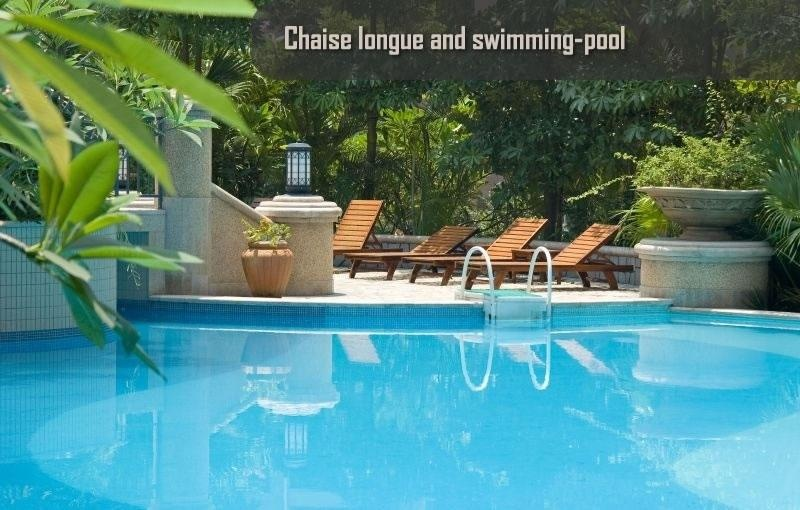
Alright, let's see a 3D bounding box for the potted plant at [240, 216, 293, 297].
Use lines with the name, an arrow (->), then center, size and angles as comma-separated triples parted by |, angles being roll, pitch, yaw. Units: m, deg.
potted plant -> -1.742, 0.044, 11.027 | 0.869, 1.377, 0.861 | -1, -1, -5
